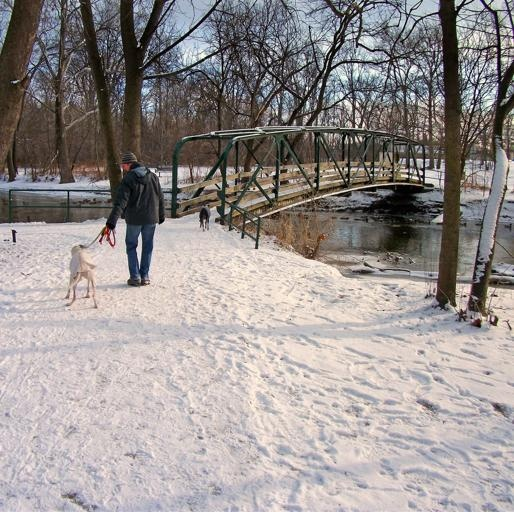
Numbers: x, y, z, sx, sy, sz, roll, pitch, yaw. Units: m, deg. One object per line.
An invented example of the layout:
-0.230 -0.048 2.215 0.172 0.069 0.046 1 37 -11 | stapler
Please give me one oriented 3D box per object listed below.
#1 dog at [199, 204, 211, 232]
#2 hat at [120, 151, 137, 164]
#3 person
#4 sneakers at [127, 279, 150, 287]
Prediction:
-1.257 -0.918 12.739 0.223 0.612 0.642 3 13 -4 | dog
-1.745 -1.324 7.205 0.198 0.165 0.335 1 15 -15 | hat
-1.664 -0.447 7.314 0.547 1.904 1.176 6 12 11 | person
-1.719 0.385 7.644 0.208 0.129 0.129 4 6 12 | sneakers
